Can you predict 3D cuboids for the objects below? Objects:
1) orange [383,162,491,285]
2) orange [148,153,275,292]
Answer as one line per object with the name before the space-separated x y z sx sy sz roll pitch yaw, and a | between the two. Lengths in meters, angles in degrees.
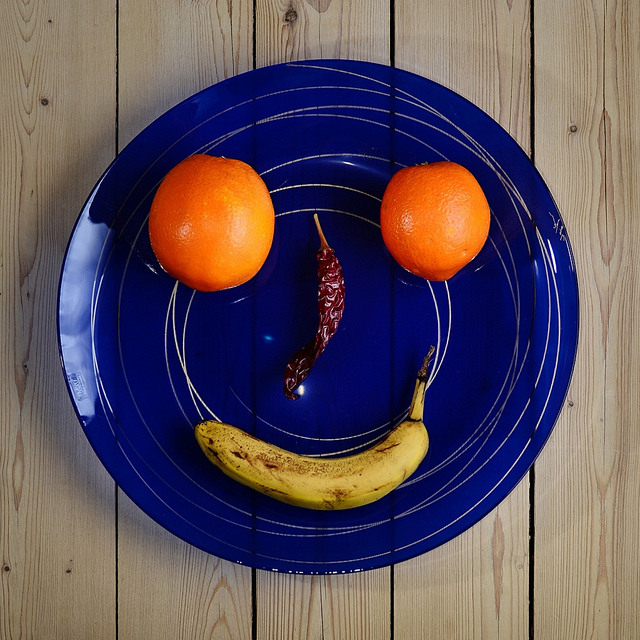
orange | 0.152 -0.128 1.414 0.104 0.124 0.190 0 97 33
orange | -0.138 -0.123 1.351 0.158 0.066 0.169 6 87 -3
